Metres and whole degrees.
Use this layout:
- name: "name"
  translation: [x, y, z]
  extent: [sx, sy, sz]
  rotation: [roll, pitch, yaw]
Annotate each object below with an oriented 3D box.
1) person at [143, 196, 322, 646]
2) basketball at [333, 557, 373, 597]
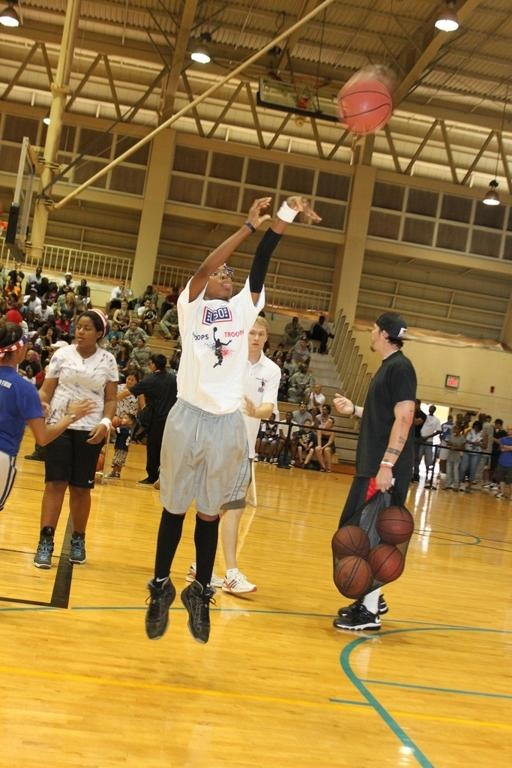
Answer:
- name: "person"
  translation: [-0.150, 0.082, 2.269]
  extent: [0.454, 1.751, 0.273]
  rotation: [11, -1, -9]
- name: "basketball"
  translation: [0.551, 1.064, 3.196]
  extent: [0.237, 0.224, 0.160]
  rotation: [10, -1, -1]
